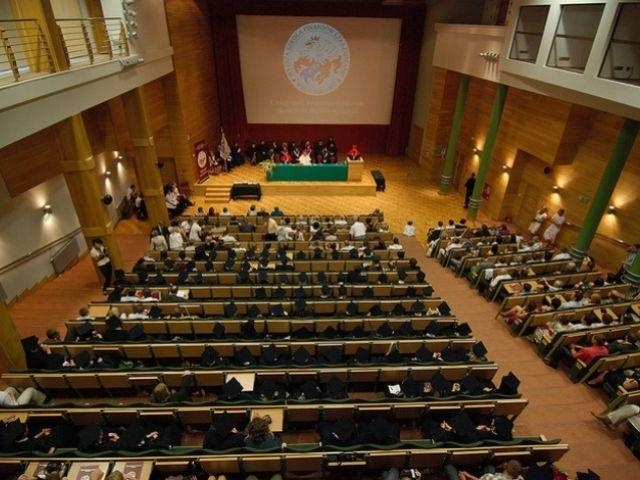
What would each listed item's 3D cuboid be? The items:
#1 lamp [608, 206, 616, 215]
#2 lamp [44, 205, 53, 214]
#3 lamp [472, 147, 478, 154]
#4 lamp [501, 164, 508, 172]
[{"bbox_3d":[9.816,-1.011,14.893,0.147,0.267,0.264,9,-26,23],"label":"lamp"},{"bbox_3d":[-9.132,-1.030,14.902,0.214,0.218,0.314,16,-55,-3],"label":"lamp"},{"bbox_3d":[7.132,-4.141,20.287,0.231,0.220,0.246,17,-89,19],"label":"lamp"},{"bbox_3d":[7.705,-2.994,18.439,0.132,0.366,0.356,-4,-53,-2],"label":"lamp"}]
